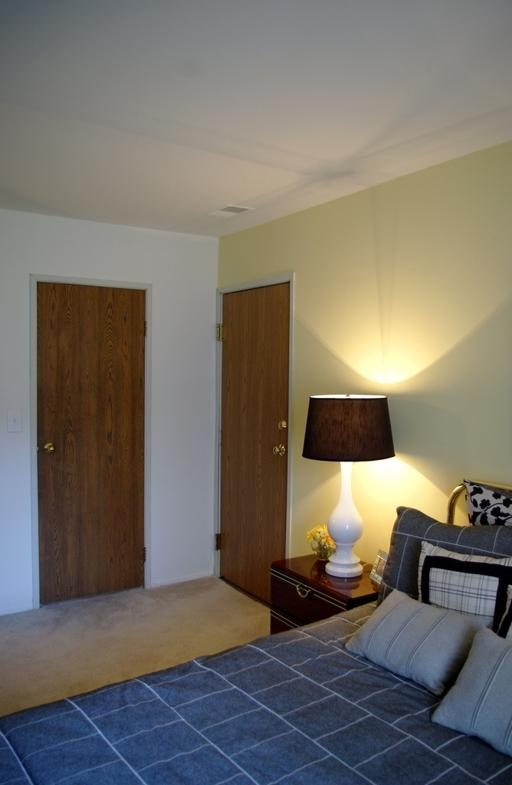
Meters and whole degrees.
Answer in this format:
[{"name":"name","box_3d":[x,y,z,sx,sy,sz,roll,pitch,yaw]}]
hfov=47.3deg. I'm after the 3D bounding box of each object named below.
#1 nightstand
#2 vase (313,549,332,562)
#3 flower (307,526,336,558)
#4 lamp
[{"name":"nightstand","box_3d":[0.289,0.874,2.568,0.294,0.492,0.436,2,-2,-28]},{"name":"vase","box_3d":[0.322,0.768,2.766,0.056,0.052,0.065,6,-8,-2]},{"name":"flower","box_3d":[0.311,0.710,2.816,0.115,0.153,0.133,1,-5,10]},{"name":"lamp","box_3d":[0.391,0.411,2.605,0.342,0.801,0.388,-1,2,-10]}]
